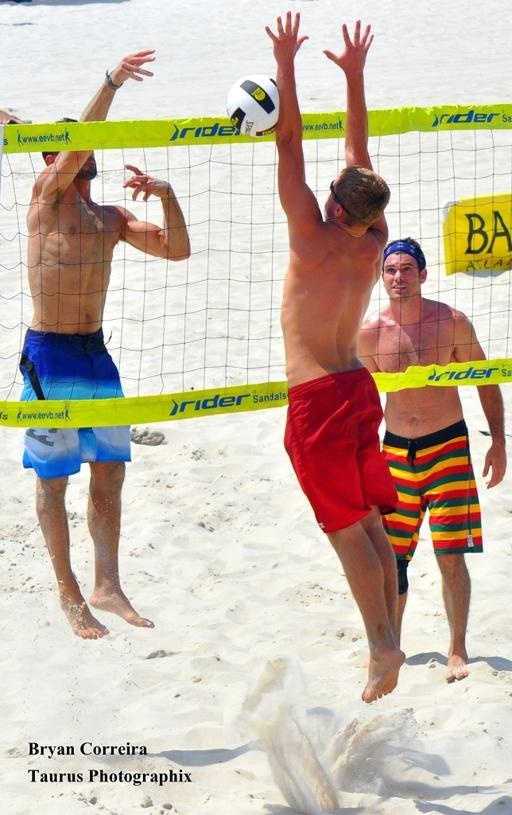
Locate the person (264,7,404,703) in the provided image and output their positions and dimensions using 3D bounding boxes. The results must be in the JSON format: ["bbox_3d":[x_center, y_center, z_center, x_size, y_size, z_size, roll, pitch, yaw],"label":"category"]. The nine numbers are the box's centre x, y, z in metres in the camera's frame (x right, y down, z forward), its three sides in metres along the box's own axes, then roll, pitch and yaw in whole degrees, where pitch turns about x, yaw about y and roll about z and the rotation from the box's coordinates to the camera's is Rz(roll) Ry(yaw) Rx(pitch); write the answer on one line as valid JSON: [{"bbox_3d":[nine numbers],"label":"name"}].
[{"bbox_3d":[0.255,-0.064,3.026,0.437,2.365,0.712,0,11,6],"label":"person"}]

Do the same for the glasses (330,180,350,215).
[{"bbox_3d":[0.250,-0.646,2.886,0.031,0.100,0.099,-26,19,13],"label":"glasses"}]

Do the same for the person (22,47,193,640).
[{"bbox_3d":[-0.623,-0.186,3.724,0.728,2.402,0.790,-2,11,-3],"label":"person"}]
